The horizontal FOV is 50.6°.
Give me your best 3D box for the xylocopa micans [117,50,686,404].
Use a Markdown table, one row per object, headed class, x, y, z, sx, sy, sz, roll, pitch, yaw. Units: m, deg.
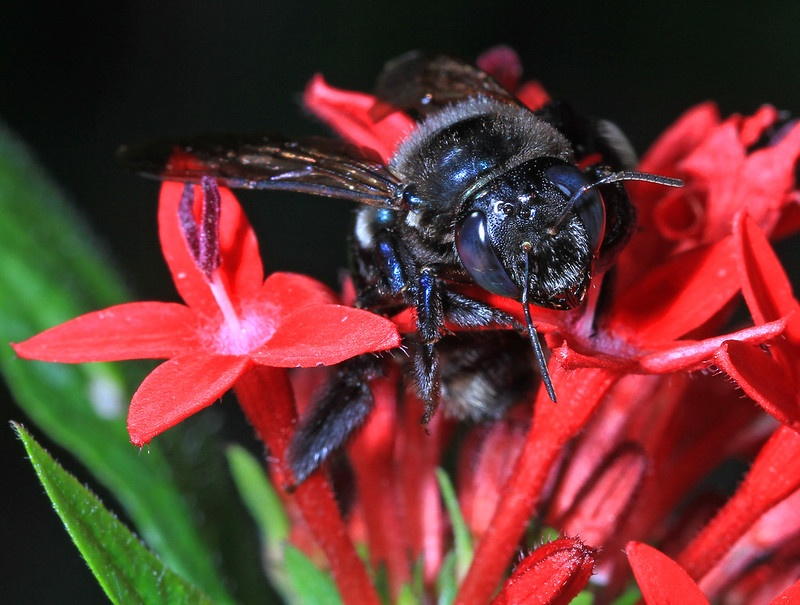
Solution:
| class | x | y | z | sx | sy | sz | roll | pitch | yaw |
| --- | --- | --- | --- | --- | --- | --- | --- | --- | --- |
| xylocopa micans | 0.032 | -0.117 | 0.921 | 0.361 | 0.178 | 0.482 | -8 | 27 | -27 |
